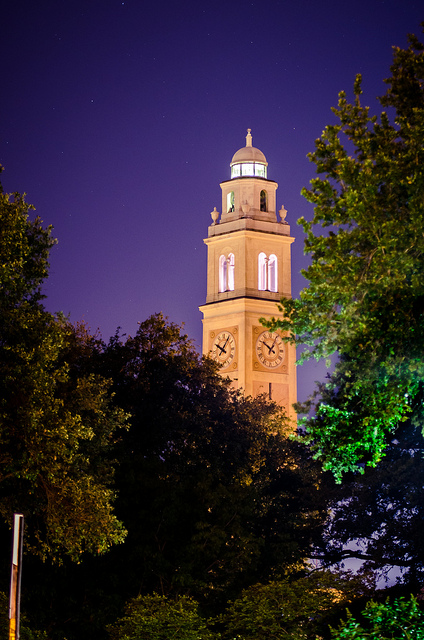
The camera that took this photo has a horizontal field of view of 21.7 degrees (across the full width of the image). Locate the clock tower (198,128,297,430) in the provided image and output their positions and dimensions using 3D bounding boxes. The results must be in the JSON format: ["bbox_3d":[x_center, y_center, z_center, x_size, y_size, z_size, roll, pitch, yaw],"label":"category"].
[{"bbox_3d":[2.582,-2.300,76.533,5.697,17.877,3.672,-1,-23,1],"label":"clock tower"}]
